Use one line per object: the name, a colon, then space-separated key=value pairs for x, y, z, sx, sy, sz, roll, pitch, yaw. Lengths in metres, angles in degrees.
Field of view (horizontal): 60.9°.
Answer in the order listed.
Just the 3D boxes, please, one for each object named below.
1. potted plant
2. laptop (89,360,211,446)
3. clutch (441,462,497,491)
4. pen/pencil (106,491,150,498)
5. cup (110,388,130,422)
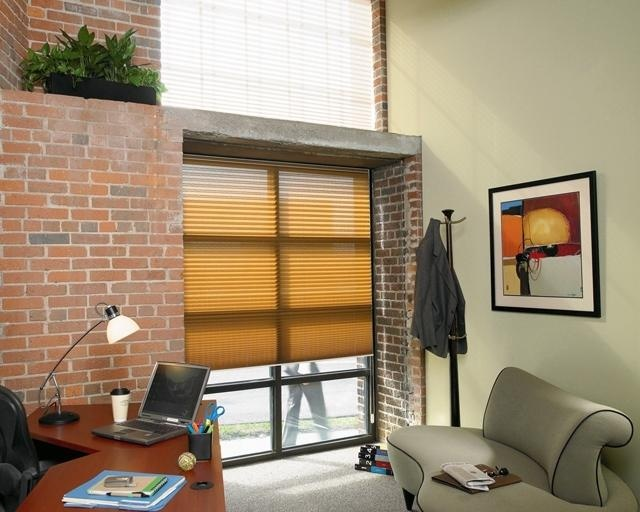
potted plant: x=-1.668 y=-1.406 z=3.936 sx=0.841 sy=0.448 sz=0.444 roll=2 pitch=20 yaw=-21
laptop: x=-0.959 y=0.808 z=3.022 sx=0.465 sy=0.315 sz=0.501 roll=-3 pitch=0 yaw=34
clutch: x=0.883 y=1.302 z=3.213 sx=0.204 sy=0.079 sz=0.310 roll=2 pitch=-5 yaw=-19
pen/pencil: x=-0.839 y=1.027 z=2.330 sx=0.182 sy=0.022 sz=0.013 roll=0 pitch=-5 yaw=3
cup: x=-1.222 y=0.897 z=3.264 sx=0.133 sy=0.189 sz=0.129 roll=-4 pitch=-10 yaw=-1
